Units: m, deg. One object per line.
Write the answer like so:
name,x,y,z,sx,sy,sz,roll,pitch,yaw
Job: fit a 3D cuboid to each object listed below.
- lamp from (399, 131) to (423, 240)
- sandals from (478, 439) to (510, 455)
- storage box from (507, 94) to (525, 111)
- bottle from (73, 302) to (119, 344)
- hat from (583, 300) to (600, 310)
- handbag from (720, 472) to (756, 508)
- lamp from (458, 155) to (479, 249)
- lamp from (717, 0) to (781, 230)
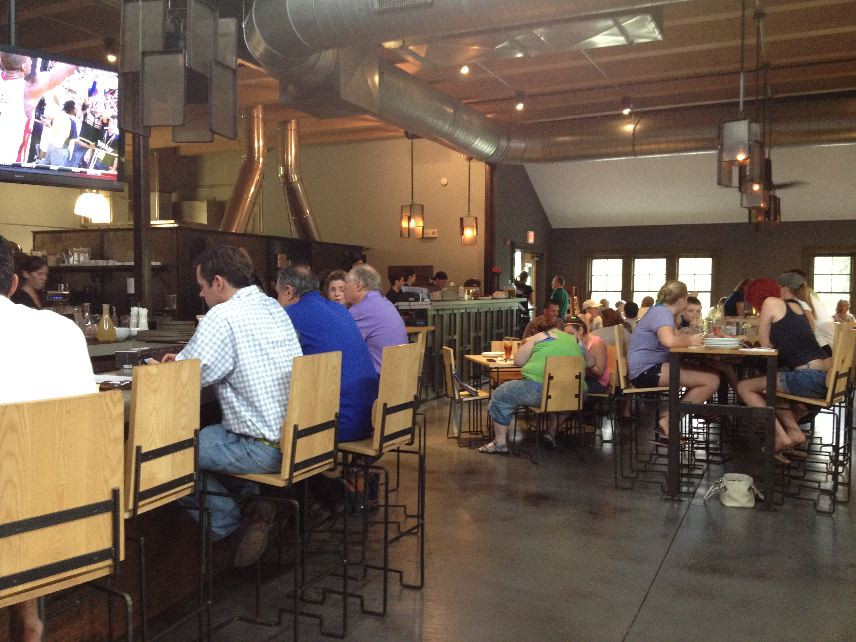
lamp,-0.248,-2.504,14.333,0.468,1.880,0.882,2,2,-2
sandals,0.625,1.169,7.210,0.219,0.091,0.130,3,-1,11
storage box,1.354,-3.247,11.475,0.202,0.128,0.811,2,2,6
bottle,-2.394,0.015,5.595,0.154,0.328,0.377,2,-2,-43
hat,2.406,-0.246,11.338,0.351,0.119,0.274,-10,-1,4
handbag,2.268,1.250,5.658,0.222,0.225,0.209,3,9,25
lamp,0.778,-2.181,14.176,0.328,1.523,0.292,2,2,12
lamp,3.742,-2.252,8.865,0.548,2.096,3.803,3,2,25
